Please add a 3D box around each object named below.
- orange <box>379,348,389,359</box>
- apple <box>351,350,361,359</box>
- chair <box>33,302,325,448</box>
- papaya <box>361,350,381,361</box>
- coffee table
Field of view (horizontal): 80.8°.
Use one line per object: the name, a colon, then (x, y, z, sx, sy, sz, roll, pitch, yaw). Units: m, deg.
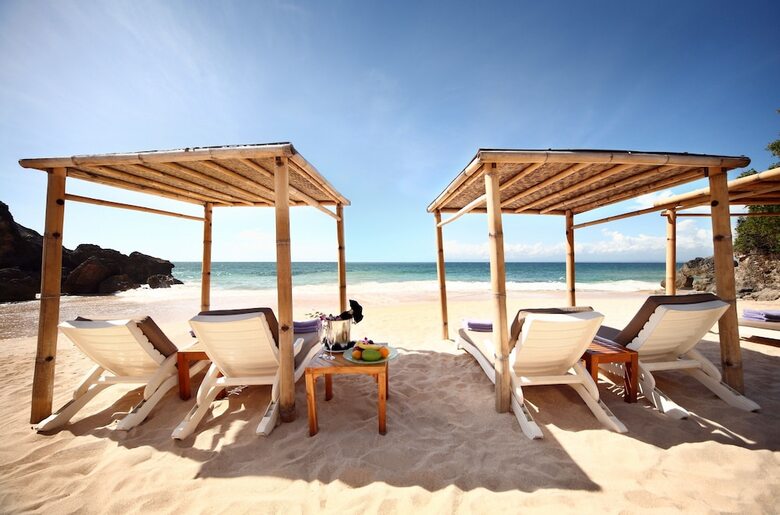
orange: (-0.100, 1.570, 7.527, 0.163, 0.166, 0.145, 17, -34, -8)
apple: (-0.544, 1.600, 7.518, 0.137, 0.120, 0.128, -1, -21, 37)
chair: (-3.434, 1.878, 7.739, 3.845, 2.195, 1.097, -1, 1, 6)
papaya: (-0.309, 1.599, 7.431, 0.276, 0.136, 0.140, 3, -20, 10)
coffee table: (-0.688, 2.144, 7.449, 1.477, 0.995, 1.479, 0, 6, 14)
